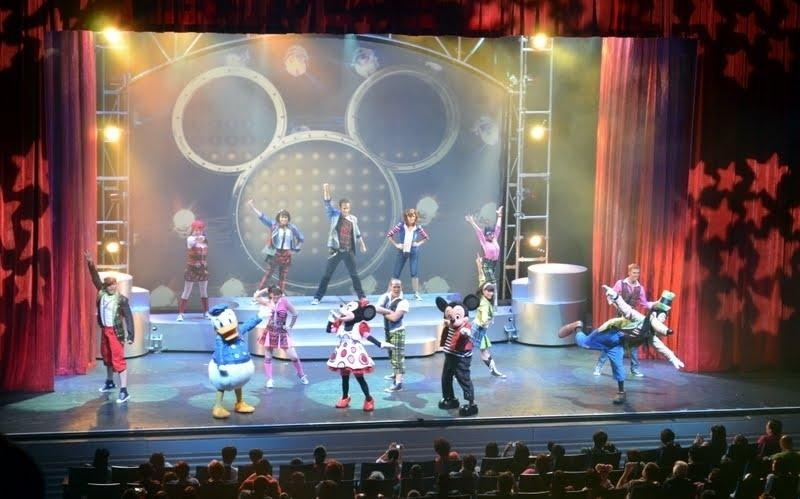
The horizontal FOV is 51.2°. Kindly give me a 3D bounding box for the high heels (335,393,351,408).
[{"bbox_3d":[-0.821,2.156,11.864,0.155,0.115,0.304,-4,-12,14],"label":"high heels"}]

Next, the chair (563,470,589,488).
[{"bbox_3d":[2.021,2.678,9.674,0.244,0.207,0.292,3,-6,-33],"label":"chair"}]

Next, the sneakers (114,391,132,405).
[{"bbox_3d":[-4.004,2.065,11.931,0.190,0.177,0.305,-4,14,-20],"label":"sneakers"}]

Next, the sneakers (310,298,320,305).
[{"bbox_3d":[-1.471,0.878,14.340,0.092,0.085,0.217,-1,-8,6],"label":"sneakers"}]

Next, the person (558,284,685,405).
[{"bbox_3d":[3.389,1.354,12.297,1.398,1.517,0.841,-3,14,-13],"label":"person"}]

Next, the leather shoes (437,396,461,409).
[{"bbox_3d":[0.697,2.158,11.751,0.181,0.112,0.185,-5,-9,41],"label":"leather shoes"}]

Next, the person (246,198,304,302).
[{"bbox_3d":[-2.172,-0.039,14.558,0.868,1.733,0.961,-2,14,-11],"label":"person"}]

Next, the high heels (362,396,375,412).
[{"bbox_3d":[-0.453,2.187,11.743,0.197,0.140,0.424,-1,1,2],"label":"high heels"}]

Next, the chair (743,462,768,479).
[{"bbox_3d":[4.279,2.631,9.935,0.211,0.154,0.209,1,-9,0],"label":"chair"}]

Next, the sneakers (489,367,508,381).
[{"bbox_3d":[1.521,1.937,12.984,0.333,0.221,0.109,-2,6,3],"label":"sneakers"}]

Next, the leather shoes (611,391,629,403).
[{"bbox_3d":[3.203,2.102,12.056,0.188,0.164,0.306,4,13,14],"label":"leather shoes"}]

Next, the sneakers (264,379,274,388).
[{"bbox_3d":[-1.998,2.021,12.555,0.105,0.102,0.241,1,-8,-11],"label":"sneakers"}]

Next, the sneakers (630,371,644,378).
[{"bbox_3d":[3.752,1.966,13.132,0.229,0.096,0.085,0,9,12],"label":"sneakers"}]

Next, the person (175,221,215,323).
[{"bbox_3d":[-3.612,0.318,14.311,0.580,1.680,0.981,-3,14,-14],"label":"person"}]

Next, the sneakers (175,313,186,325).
[{"bbox_3d":[-3.749,1.167,14.114,0.161,0.183,0.435,0,-6,-7],"label":"sneakers"}]

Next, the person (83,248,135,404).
[{"bbox_3d":[-4.249,1.065,12.218,0.542,2.006,1.426,-5,15,-21],"label":"person"}]

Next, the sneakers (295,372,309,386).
[{"bbox_3d":[-1.496,1.956,12.716,0.095,0.092,0.215,-9,15,-29],"label":"sneakers"}]

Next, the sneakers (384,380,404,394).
[{"bbox_3d":[-0.088,2.058,12.433,0.322,0.134,0.108,0,0,2],"label":"sneakers"}]

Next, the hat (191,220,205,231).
[{"bbox_3d":[-3.439,-0.451,14.177,0.235,0.174,0.202,-9,-8,-20],"label":"hat"}]

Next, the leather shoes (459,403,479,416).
[{"bbox_3d":[0.944,2.235,11.538,0.129,0.104,0.240,-3,-5,28],"label":"leather shoes"}]

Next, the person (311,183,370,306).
[{"bbox_3d":[-1.075,-0.120,14.382,0.902,2.136,1.380,0,14,-3],"label":"person"}]

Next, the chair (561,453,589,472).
[{"bbox_3d":[2.124,2.581,10.067,0.211,0.282,0.252,1,2,0],"label":"chair"}]

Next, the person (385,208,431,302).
[{"bbox_3d":[0.149,0.062,14.666,0.691,1.680,1.336,0,14,0],"label":"person"}]

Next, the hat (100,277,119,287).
[{"bbox_3d":[-4.255,0.448,12.046,0.267,0.172,0.180,2,13,5],"label":"hat"}]

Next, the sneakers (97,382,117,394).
[{"bbox_3d":[-4.330,2.020,12.240,0.110,0.098,0.238,-6,-9,38],"label":"sneakers"}]
